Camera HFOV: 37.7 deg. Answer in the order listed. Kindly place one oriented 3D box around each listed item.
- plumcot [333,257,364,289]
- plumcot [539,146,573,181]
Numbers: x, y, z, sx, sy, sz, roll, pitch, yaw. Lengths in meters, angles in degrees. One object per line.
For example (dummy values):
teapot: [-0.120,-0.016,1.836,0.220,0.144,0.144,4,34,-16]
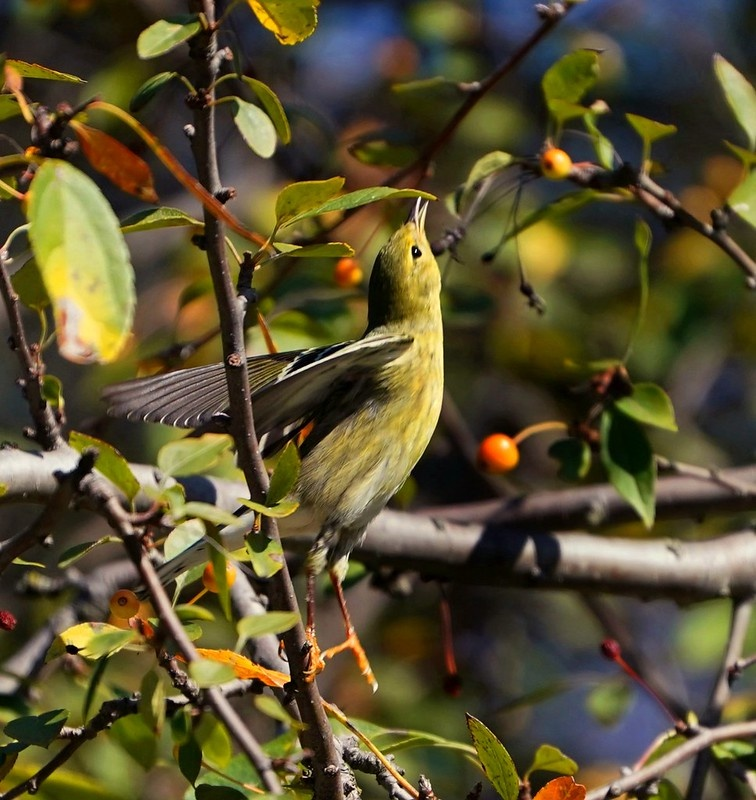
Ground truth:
plumcot: [-0.106,-0.450,4.019,0.126,0.105,0.117,7,53,-10]
plumcot: [0.493,-0.672,3.138,0.110,0.101,0.096,-12,10,8]
